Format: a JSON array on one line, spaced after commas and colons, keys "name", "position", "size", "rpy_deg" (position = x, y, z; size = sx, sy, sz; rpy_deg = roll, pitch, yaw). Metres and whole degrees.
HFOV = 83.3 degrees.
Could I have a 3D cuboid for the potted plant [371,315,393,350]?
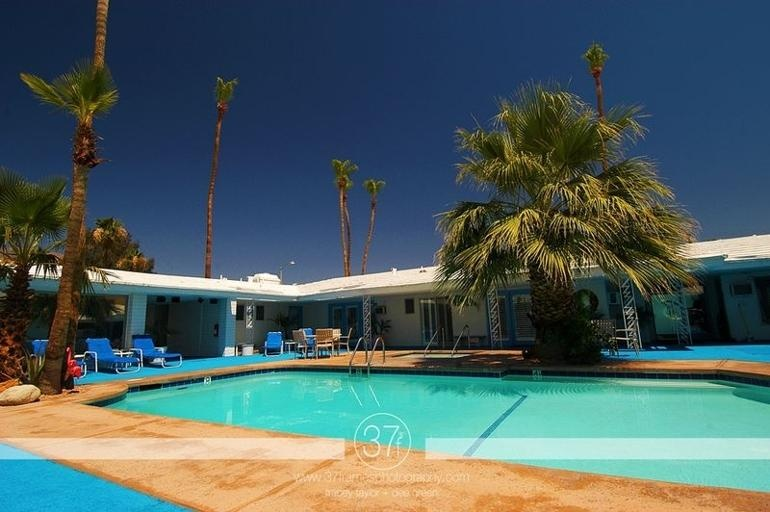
[{"name": "potted plant", "position": [-0.263, 3.798, 22.999], "size": [1.521, 2.165, 1.653], "rpy_deg": [1, -19, 0]}]
